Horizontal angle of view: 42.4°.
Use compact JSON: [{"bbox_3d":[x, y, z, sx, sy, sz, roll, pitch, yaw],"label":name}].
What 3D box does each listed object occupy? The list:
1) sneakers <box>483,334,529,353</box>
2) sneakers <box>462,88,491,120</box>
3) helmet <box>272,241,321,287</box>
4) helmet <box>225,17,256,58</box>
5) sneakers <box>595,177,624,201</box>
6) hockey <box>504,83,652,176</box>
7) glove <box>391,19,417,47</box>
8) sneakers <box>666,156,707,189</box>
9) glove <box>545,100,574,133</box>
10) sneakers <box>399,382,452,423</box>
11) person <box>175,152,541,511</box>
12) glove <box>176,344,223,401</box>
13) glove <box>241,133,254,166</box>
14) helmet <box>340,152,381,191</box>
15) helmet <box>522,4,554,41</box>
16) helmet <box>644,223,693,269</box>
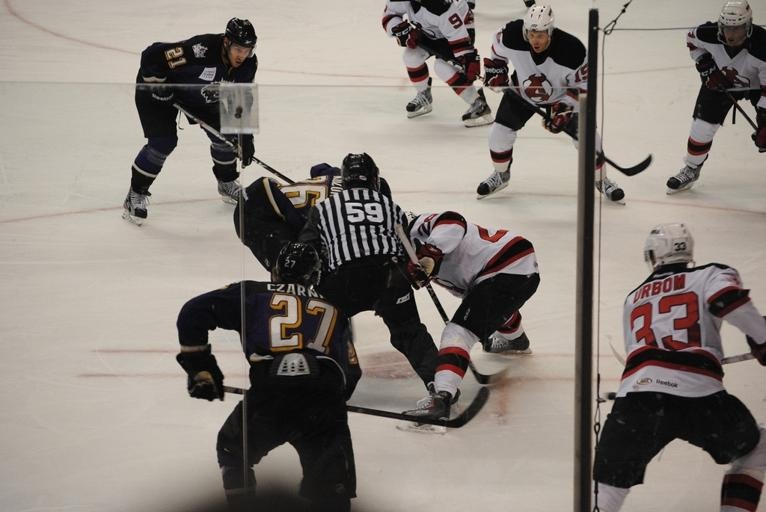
[{"bbox_3d":[0.649,0.470,5.320,0.281,0.105,0.091,5,26,-3],"label":"sneakers"},{"bbox_3d":[0.513,-0.811,5.306,0.126,0.191,0.224,-1,18,-15],"label":"sneakers"},{"bbox_3d":[-0.422,0.028,5.258,0.211,0.220,0.237,10,12,6],"label":"helmet"},{"bbox_3d":[-0.932,-1.495,6.689,0.203,0.225,0.234,-18,56,-30],"label":"helmet"},{"bbox_3d":[1.263,-0.377,5.506,0.183,0.061,0.076,34,-3,3],"label":"sneakers"},{"bbox_3d":[1.038,-0.676,5.321,0.162,0.109,0.914,-32,-49,32],"label":"hockey"},{"bbox_3d":[0.176,-1.712,7.629,0.181,0.213,0.098,-3,-15,4],"label":"glove"},{"bbox_3d":[1.646,-0.438,5.420,0.246,0.081,0.107,-29,-17,5],"label":"sneakers"},{"bbox_3d":[0.923,-0.721,5.217,0.169,0.112,0.072,-11,-9,21],"label":"glove"},{"bbox_3d":[0.268,0.788,5.205,0.374,0.227,0.115,2,4,3],"label":"sneakers"},{"bbox_3d":[-0.227,0.401,5.202,1.548,1.775,0.716,-5,20,-24],"label":"person"},{"bbox_3d":[-0.931,0.609,5.187,0.211,0.278,0.095,2,19,-5],"label":"glove"},{"bbox_3d":[-0.711,-0.552,5.180,0.055,0.161,0.112,12,20,22],"label":"glove"},{"bbox_3d":[-0.118,-0.450,5.275,0.172,0.194,0.207,1,21,4],"label":"helmet"},{"bbox_3d":[1.027,-1.587,6.731,0.182,0.201,0.212,3,44,24],"label":"helmet"},{"bbox_3d":[1.515,-0.058,5.281,0.230,0.235,0.255,-2,6,-9],"label":"helmet"}]
